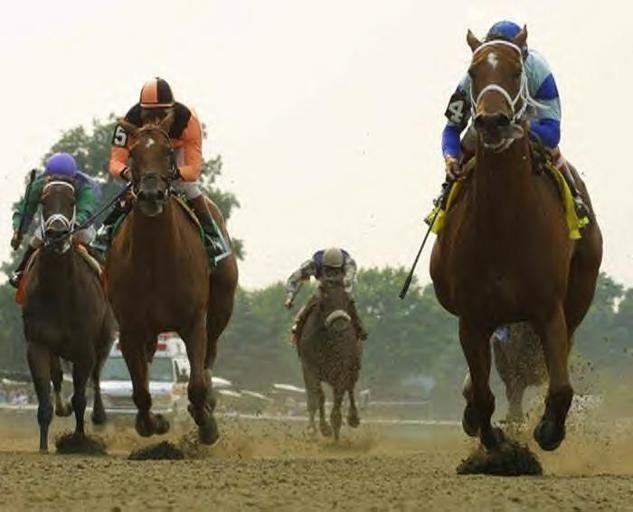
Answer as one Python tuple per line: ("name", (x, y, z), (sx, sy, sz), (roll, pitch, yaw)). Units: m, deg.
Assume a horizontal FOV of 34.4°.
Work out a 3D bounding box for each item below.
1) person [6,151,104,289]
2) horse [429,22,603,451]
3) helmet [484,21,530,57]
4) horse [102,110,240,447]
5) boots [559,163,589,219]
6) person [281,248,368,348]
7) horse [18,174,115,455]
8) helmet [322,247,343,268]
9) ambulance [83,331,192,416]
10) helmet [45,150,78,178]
("person", (-3.604, -0.481, 14.120), (1.146, 1.919, 1.155), (2, 15, -12))
("horse", (1.906, -0.124, 10.069), (1.555, 4.166, 2.159), (-2, -5, 21))
("helmet", (1.884, -2.204, 10.259), (0.287, 0.277, 0.221), (-14, -39, 40))
("horse", (-1.773, 0.406, 12.639), (1.412, 3.851, 4.356), (0, -4, -1))
("boots", (2.612, -0.669, 10.288), (0.253, 0.662, 0.230), (1, 1, 5))
("person", (0.112, 0.418, 15.764), (1.217, 1.914, 0.973), (-2, -3, 2))
("horse", (-3.300, 0.627, 13.420), (1.292, 4.425, 1.541), (0, 0, -13))
("helmet", (0.263, 0.033, 15.313), (0.308, 0.308, 0.331), (0, -4, -1))
("ambulance", (-3.856, 2.766, 22.889), (1.942, 1.756, 3.389), (0, -8, 0))
("helmet", (-3.433, -1.220, 13.720), (0.389, 0.375, 0.390), (-1, 5, -12))
